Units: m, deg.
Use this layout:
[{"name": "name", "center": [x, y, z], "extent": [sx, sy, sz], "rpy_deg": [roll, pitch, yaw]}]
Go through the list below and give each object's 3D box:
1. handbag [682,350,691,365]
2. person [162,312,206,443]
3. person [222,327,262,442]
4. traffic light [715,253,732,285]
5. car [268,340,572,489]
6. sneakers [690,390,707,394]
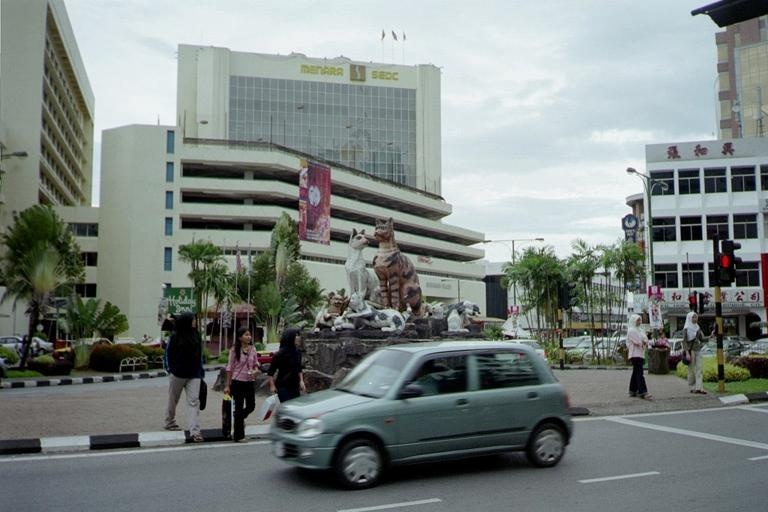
[{"name": "handbag", "center": [9.923, 3.329, 24.391], "extent": [0.220, 0.374, 0.214], "rpy_deg": [-2, -6, 9]}, {"name": "person", "center": [-5.039, 3.016, 18.600], "extent": [0.808, 3.189, 1.042], "rpy_deg": [3, -7, -39]}, {"name": "person", "center": [-3.595, 3.213, 18.694], "extent": [0.772, 2.841, 0.882], "rpy_deg": [0, -6, -11]}, {"name": "traffic light", "center": [10.945, 0.415, 23.964], "extent": [0.550, 0.965, 0.626], "rpy_deg": [-5, -7, 30]}, {"name": "car", "center": [0.799, 3.431, 16.567], "extent": [5.029, 2.344, 3.061], "rpy_deg": [3, -9, -16]}, {"name": "sneakers", "center": [10.195, 4.406, 24.242], "extent": [0.151, 0.183, 0.403], "rpy_deg": [5, -7, -35]}]
